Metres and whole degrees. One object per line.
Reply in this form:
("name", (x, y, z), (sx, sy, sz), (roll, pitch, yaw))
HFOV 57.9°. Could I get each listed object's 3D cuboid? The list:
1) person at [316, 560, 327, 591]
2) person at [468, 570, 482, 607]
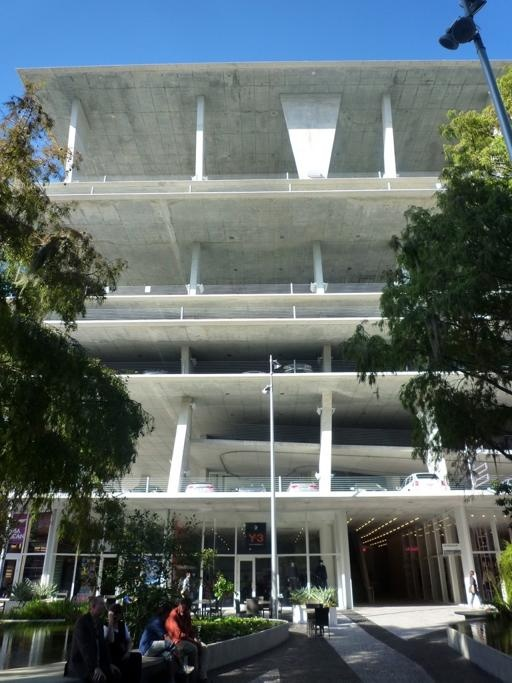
("person", (3.380, 12.138, 24.091), (0.465, 1.011, 1.317), (-3, -26, 6))
("person", (10.517, 11.962, 22.673), (0.486, 1.502, 3.973), (-10, -28, 20))
